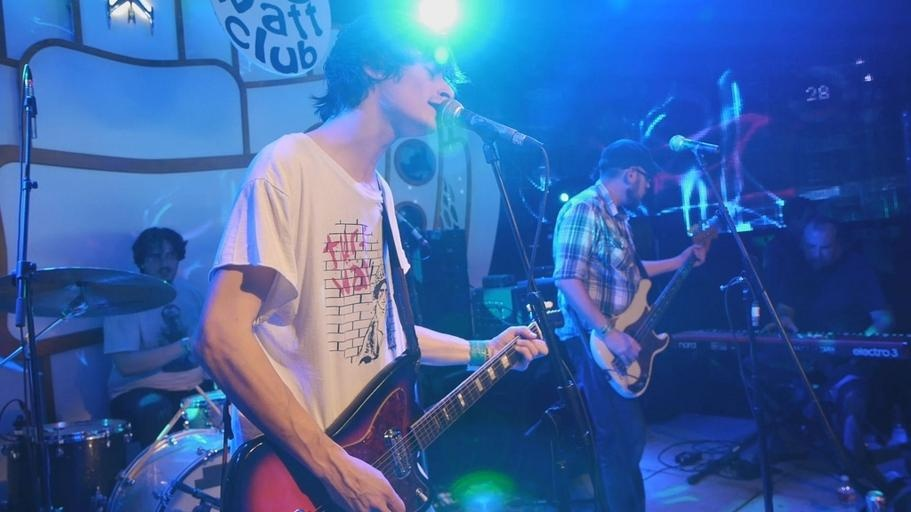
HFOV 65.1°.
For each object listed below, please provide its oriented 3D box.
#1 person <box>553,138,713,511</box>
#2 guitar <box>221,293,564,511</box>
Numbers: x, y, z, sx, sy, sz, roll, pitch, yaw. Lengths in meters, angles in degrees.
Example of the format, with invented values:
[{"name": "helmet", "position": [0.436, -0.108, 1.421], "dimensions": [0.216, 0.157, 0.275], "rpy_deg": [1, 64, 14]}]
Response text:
[{"name": "person", "position": [1.673, 0.713, 7.505], "dimensions": [1.198, 3.876, 0.698], "rpy_deg": [-2, -11, -20]}, {"name": "guitar", "position": [-0.562, 1.358, 6.219], "dimensions": [2.367, 0.940, 0.334], "rpy_deg": [-37, 19, -32]}]
